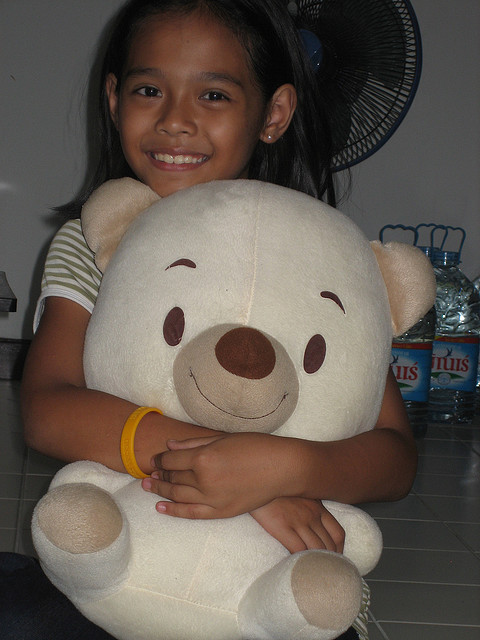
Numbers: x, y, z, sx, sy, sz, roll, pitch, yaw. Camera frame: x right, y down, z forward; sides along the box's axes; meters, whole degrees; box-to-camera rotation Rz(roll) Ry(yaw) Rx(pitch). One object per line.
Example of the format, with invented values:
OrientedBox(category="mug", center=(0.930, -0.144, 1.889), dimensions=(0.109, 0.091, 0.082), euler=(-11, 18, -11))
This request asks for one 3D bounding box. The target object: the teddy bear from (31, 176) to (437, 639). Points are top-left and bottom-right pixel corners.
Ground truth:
OrientedBox(category="teddy bear", center=(-0.026, 0.062, 0.544), dimensions=(0.358, 0.394, 0.295), euler=(7, 6, 14))

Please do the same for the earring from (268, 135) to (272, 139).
OrientedBox(category="earring", center=(0.046, -0.282, 0.943), dimensions=(0.005, 0.004, 0.001), euler=(5, 4, -9))

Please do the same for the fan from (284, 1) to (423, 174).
OrientedBox(category="fan", center=(0.265, -0.574, 1.436), dimensions=(0.194, 0.388, 0.360), euler=(10, 7, 36))
